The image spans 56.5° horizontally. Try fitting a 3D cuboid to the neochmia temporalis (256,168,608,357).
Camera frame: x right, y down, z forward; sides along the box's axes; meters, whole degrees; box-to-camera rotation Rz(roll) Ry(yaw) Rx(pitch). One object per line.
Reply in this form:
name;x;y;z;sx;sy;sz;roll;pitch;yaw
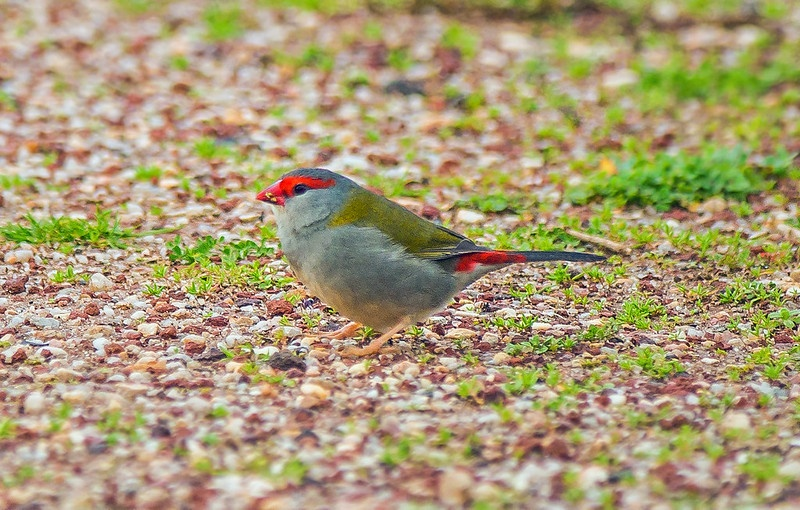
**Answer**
neochmia temporalis;0.403;-0.005;4.474;2.600;0.791;0.891;0;88;0
